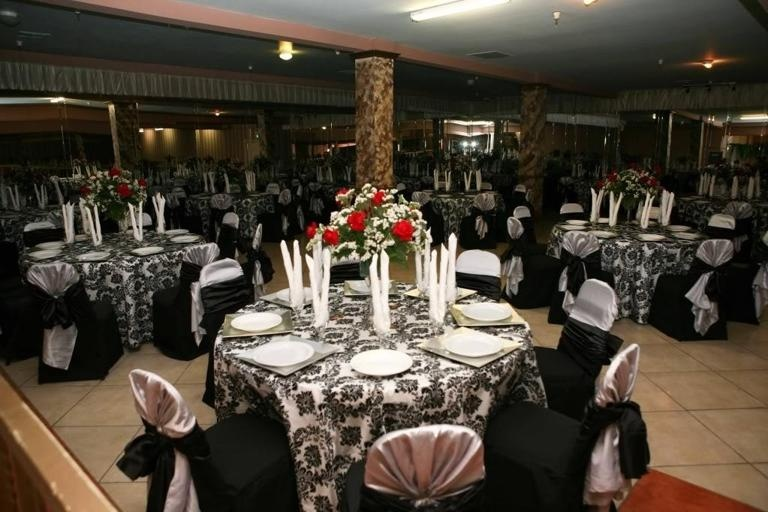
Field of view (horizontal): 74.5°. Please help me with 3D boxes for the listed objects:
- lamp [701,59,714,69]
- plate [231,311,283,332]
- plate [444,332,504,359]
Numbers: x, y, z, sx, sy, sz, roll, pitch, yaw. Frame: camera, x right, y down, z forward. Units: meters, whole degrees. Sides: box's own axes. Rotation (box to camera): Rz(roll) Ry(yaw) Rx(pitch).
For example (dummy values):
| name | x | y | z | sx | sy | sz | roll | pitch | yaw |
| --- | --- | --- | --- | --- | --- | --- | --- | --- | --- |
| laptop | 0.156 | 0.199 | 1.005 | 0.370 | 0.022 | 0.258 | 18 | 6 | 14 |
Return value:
| name | x | y | z | sx | sy | sz | roll | pitch | yaw |
| --- | --- | --- | --- | --- | --- | --- | --- | --- | --- |
| lamp | 6.144 | -3.692 | 9.599 | 0.195 | 0.105 | 0.200 | 3 | -5 | -5 |
| plate | -0.978 | 0.503 | 3.848 | 0.385 | 0.081 | 0.282 | -3 | 10 | -9 |
| plate | 0.614 | 0.622 | 3.537 | 0.403 | 0.095 | 0.266 | -1 | 10 | 7 |
